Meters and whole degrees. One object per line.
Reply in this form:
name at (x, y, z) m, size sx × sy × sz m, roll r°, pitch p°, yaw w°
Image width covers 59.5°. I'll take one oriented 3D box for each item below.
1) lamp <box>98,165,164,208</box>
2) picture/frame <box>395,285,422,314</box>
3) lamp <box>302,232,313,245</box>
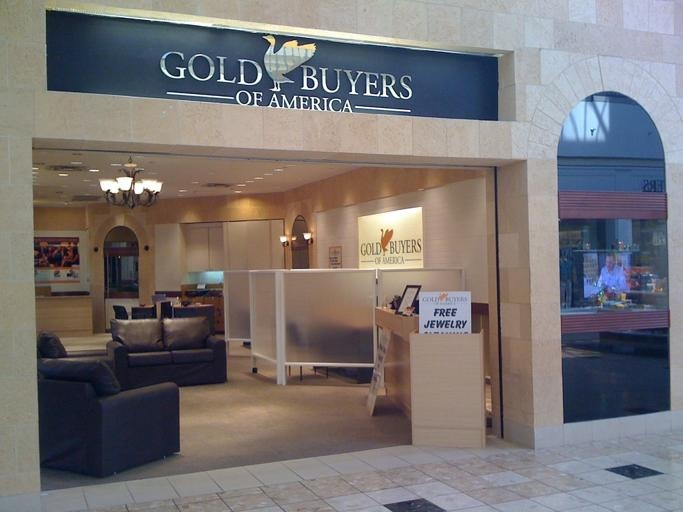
lamp at (-4.103, -1.372, 11.724) m, size 1.050 × 0.807 × 1.049 m, roll 6°, pitch 15°, yaw 25°
picture/frame at (0.852, 0.566, 7.614) m, size 0.030 × 0.396 × 0.350 m, roll 29°, pitch -18°, yaw -22°
lamp at (-0.837, -0.424, 14.636) m, size 0.271 × 0.305 × 0.293 m, roll 3°, pitch -6°, yaw -2°
